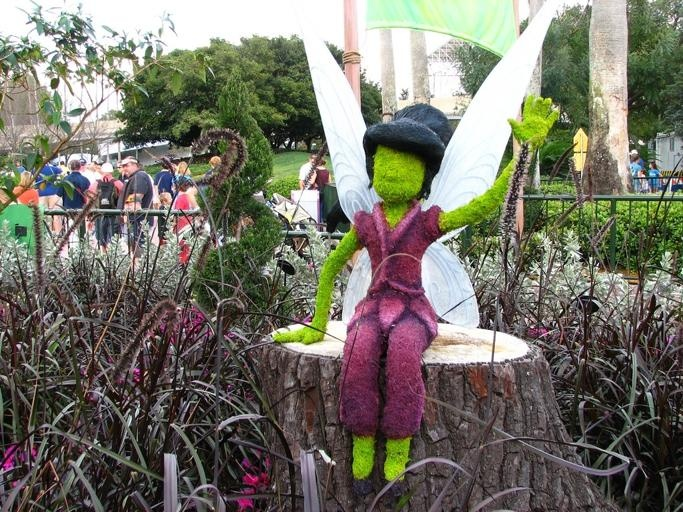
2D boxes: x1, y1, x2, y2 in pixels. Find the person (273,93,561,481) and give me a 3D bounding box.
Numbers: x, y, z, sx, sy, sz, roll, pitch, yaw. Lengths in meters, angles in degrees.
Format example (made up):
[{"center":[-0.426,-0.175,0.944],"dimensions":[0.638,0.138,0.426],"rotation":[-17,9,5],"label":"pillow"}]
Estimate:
[{"center":[0.255,0.087,2.683],"dimensions":[1.038,1.654,0.730],"rotation":[0,2,-8],"label":"person"}]
